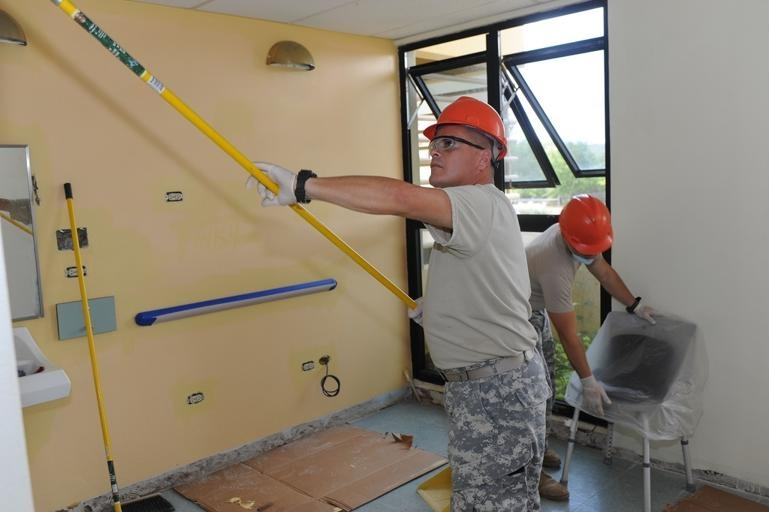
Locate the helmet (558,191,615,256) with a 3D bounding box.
[{"bbox_3d":[1.321,-0.259,4.148,0.361,0.261,0.495,-4,31,-3],"label":"helmet"}]

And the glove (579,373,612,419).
[{"bbox_3d":[1.374,0.896,4.092,0.187,0.247,0.154,0,14,16],"label":"glove"}]

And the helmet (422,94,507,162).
[{"bbox_3d":[0.470,-0.763,3.467,0.480,0.267,0.382,13,-3,-20],"label":"helmet"}]

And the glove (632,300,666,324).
[{"bbox_3d":[1.806,0.388,4.326,0.112,0.050,0.164,-39,50,-23],"label":"glove"}]

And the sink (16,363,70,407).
[{"bbox_3d":[-1.447,0.580,2.700,0.180,0.095,0.337,-12,16,-32],"label":"sink"}]

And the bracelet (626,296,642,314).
[{"bbox_3d":[1.738,0.337,4.391,0.041,0.107,0.076,33,5,2],"label":"bracelet"}]

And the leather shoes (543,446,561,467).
[{"bbox_3d":[1.238,1.504,4.710,0.080,0.097,0.207,-3,-5,-25],"label":"leather shoes"}]

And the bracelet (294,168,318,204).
[{"bbox_3d":[-0.369,-0.336,2.999,0.057,0.151,0.111,4,0,-9],"label":"bracelet"}]
